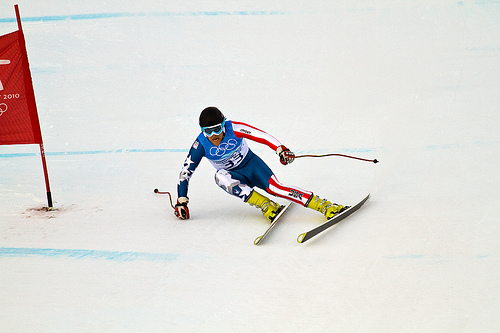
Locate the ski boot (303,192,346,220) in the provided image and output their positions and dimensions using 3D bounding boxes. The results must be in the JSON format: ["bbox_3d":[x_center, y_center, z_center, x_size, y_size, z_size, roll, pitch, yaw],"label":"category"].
[{"bbox_3d":[0.694,0.376,5.393,0.338,0.202,0.123,27,-3,8],"label":"ski boot"}]

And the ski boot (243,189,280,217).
[{"bbox_3d":[0.119,0.356,5.480,0.326,0.133,0.266,26,-21,38],"label":"ski boot"}]
